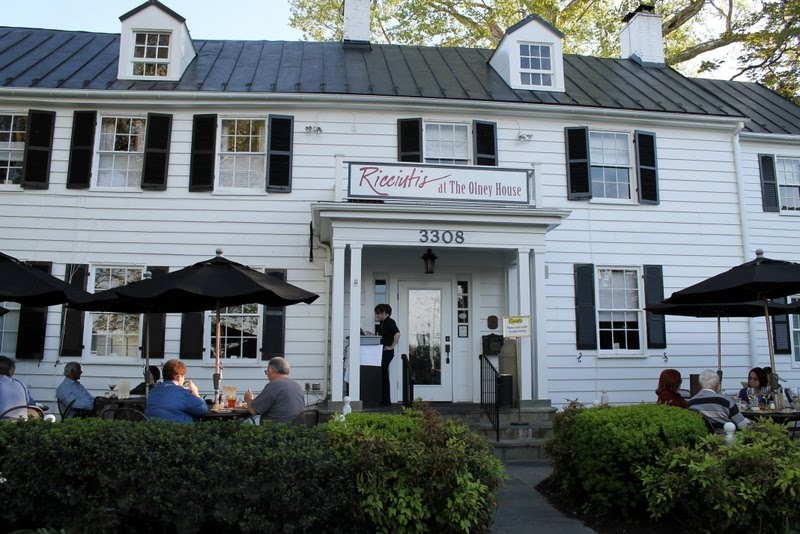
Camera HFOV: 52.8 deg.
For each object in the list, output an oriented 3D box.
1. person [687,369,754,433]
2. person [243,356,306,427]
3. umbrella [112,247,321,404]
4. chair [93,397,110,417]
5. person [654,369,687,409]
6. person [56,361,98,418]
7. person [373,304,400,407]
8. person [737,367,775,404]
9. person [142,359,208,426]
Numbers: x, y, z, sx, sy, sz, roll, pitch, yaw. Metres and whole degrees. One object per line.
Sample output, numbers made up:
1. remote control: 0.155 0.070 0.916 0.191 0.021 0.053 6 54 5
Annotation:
1. person: 5.267 2.256 13.398 0.669 0.985 1.162 2 -4 -32
2. person: -2.068 2.308 13.480 1.010 1.495 0.928 -1 -2 24
3. umbrella: -3.140 0.887 14.197 2.994 2.151 2.946 -1 -4 8
4. chair: -5.680 2.677 15.308 0.290 0.350 0.136 0 -3 38
5. person: 4.761 2.137 14.093 0.546 0.662 0.789 -3 -8 31
6. person: -6.272 2.483 15.518 0.763 1.202 0.689 3 8 43
7. person: -0.339 1.971 18.237 0.526 2.263 1.310 2 -8 -2
8. person: 6.968 2.346 15.584 0.498 0.715 0.839 1 -1 -29
9. person: -3.495 2.037 13.172 1.027 1.300 1.019 0 -1 29
